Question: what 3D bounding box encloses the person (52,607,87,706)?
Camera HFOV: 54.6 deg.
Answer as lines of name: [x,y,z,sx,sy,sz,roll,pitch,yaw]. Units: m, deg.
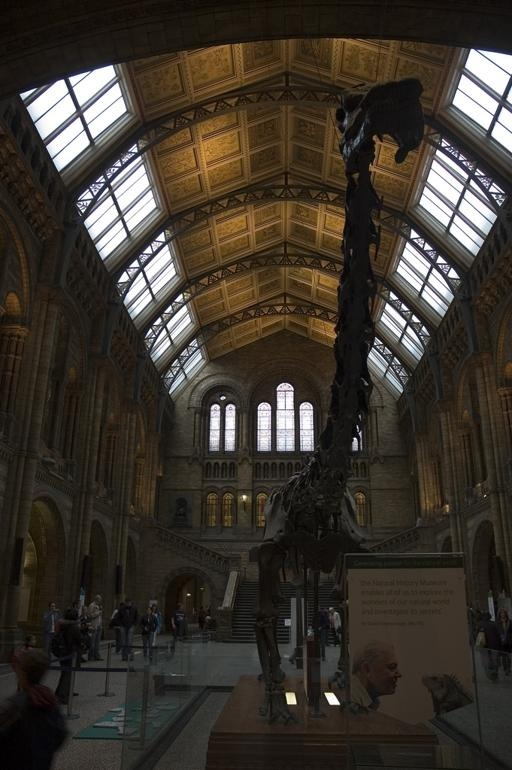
person: [-2.807,4.058,7.549,0.555,1.135,0.544,6,-28,-31]
